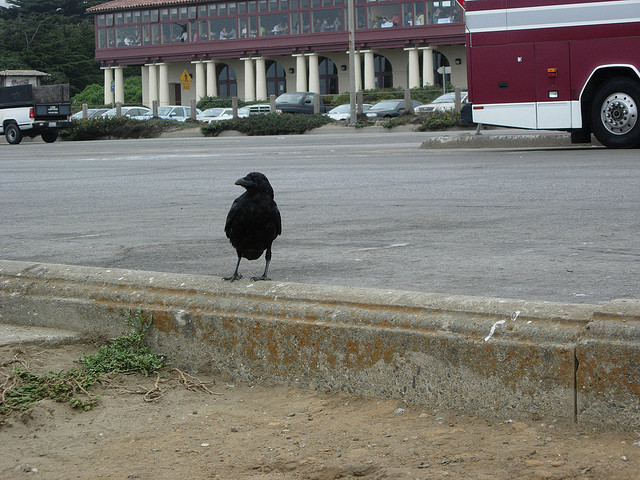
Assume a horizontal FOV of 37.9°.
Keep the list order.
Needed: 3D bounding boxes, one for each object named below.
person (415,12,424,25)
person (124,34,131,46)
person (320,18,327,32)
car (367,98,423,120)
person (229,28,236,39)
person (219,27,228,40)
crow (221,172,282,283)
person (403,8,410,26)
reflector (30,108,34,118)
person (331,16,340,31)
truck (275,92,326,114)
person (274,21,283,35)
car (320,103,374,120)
[{"bbox_3d":[6.563,-14.392,60.853,0.713,0.901,0.623,-2,4,-16],"label":"person"},{"bbox_3d":[-14.817,-15.361,72.096,0.517,0.723,0.163,0,7,27],"label":"person"},{"bbox_3d":[0.282,-14.823,64.480,0.594,0.881,0.306,-1,7,25],"label":"person"},{"bbox_3d":[3.472,-6.375,44.375,1.216,0.863,2.719,3,7,41],"label":"car"},{"bbox_3d":[-6.378,-14.973,67.820,0.628,0.853,0.637,1,3,-1],"label":"person"},{"bbox_3d":[-7.011,-15.001,68.052,0.672,0.861,0.336,0,8,29],"label":"person"},{"bbox_3d":[-0.386,-0.113,5.749,0.366,0.643,0.551,4,14,4],"label":"crow"},{"bbox_3d":[5.685,-14.584,61.254,0.444,1.158,0.353,-1,7,21],"label":"person"},{"bbox_3d":[-11.535,-5.088,37.491,0.109,0.387,0.117,0,-12,-4],"label":"reflector"},{"bbox_3d":[1.161,-14.814,63.928,0.306,0.919,0.644,-9,9,-38],"label":"person"},{"bbox_3d":[-1.107,-6.894,47.157,1.427,1.055,2.163,2,2,41],"label":"truck"},{"bbox_3d":[-2.920,-15.033,66.397,0.663,0.944,0.274,0,7,27],"label":"person"},{"bbox_3d":[1.109,-6.287,45.878,1.283,0.961,2.833,0,3,19],"label":"car"}]
